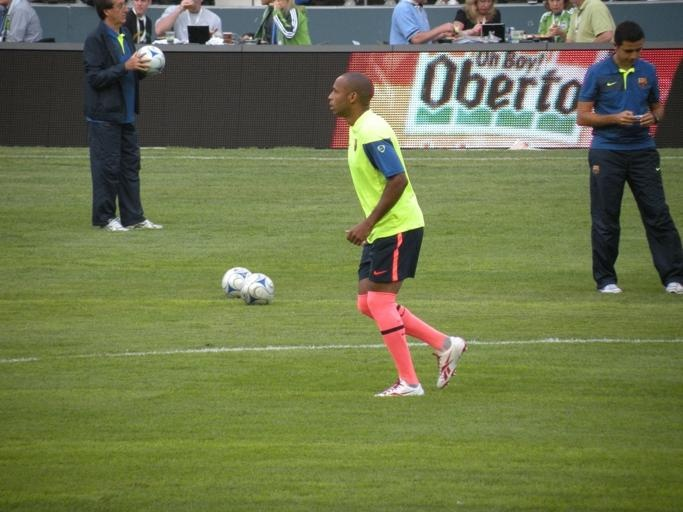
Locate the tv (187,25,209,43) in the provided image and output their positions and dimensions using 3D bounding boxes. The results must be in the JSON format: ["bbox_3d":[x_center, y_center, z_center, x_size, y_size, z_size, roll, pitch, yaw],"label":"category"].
[{"bbox_3d":[-2.306,-3.571,23.431,0.417,0.239,0.272,1,17,-3],"label":"tv"}]

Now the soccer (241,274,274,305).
[{"bbox_3d":[-0.892,0.345,15.505,0.337,0.297,0.221,5,14,11],"label":"soccer"}]

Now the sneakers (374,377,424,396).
[{"bbox_3d":[0.543,1.197,13.243,0.501,0.160,0.149,0,-4,-3],"label":"sneakers"}]

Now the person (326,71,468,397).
[{"bbox_3d":[0.403,-0.189,13.189,0.860,2.853,1.205,-9,18,-39],"label":"person"}]

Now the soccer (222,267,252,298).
[{"bbox_3d":[-1.103,0.253,15.755,0.400,0.289,0.310,-1,30,-1],"label":"soccer"}]

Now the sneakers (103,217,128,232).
[{"bbox_3d":[-2.828,-0.395,18.345,0.350,0.122,0.122,1,9,13],"label":"sneakers"}]

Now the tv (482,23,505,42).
[{"bbox_3d":[2.444,-3.613,23.552,0.375,0.304,0.401,4,13,8],"label":"tv"}]

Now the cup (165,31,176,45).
[{"bbox_3d":[-2.760,-3.560,23.763,0.256,0.230,0.228,1,2,1],"label":"cup"}]

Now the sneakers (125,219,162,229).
[{"bbox_3d":[-2.482,-0.413,18.505,0.464,0.159,0.153,-2,3,-2],"label":"sneakers"}]
